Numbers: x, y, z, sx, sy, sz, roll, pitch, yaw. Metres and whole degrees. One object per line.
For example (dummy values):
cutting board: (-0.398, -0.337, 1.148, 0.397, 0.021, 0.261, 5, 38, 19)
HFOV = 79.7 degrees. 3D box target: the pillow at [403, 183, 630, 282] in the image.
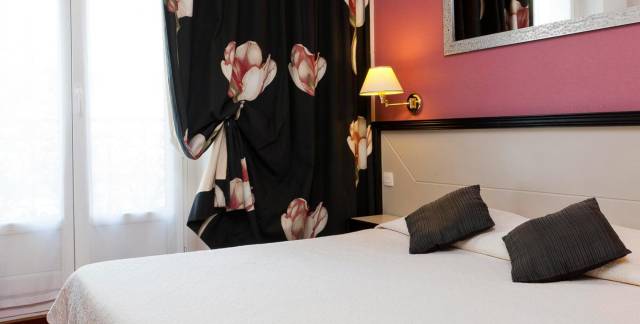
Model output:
pillow: (1.571, 0.566, 3.126, 1.548, 0.638, 0.561, 2, 9, 29)

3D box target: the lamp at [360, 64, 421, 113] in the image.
lamp: (0.788, -0.777, 4.271, 0.727, 0.528, 0.446, -7, 9, -28)
